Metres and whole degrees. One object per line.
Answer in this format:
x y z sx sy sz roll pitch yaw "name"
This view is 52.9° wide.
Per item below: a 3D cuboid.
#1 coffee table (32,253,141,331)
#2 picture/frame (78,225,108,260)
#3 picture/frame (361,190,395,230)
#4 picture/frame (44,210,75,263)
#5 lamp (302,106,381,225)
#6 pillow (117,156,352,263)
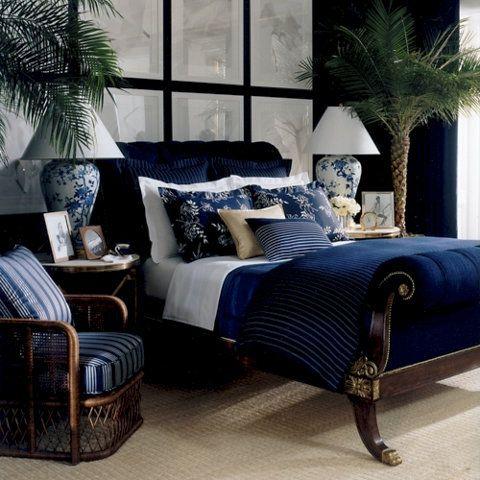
-0.868 0.235 2.891 0.448 0.423 0.518 0 2 -13 "coffee table"
-0.905 0.015 2.974 0.014 0.227 0.183 -16 -1 23 "picture/frame"
1.325 -0.288 4.642 0.343 0.439 0.029 2 -22 -4 "picture/frame"
-1.064 -0.021 2.854 0.009 0.299 0.241 -8 12 19 "picture/frame"
1.045 -0.893 4.850 0.654 1.010 0.673 -3 32 16 "lamp"
-0.190 -0.225 3.391 1.692 0.752 0.679 -9 4 -39 "pillow"
